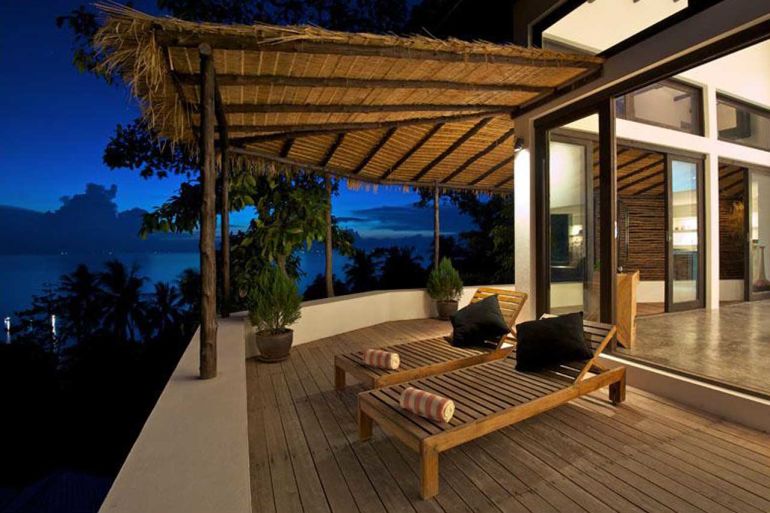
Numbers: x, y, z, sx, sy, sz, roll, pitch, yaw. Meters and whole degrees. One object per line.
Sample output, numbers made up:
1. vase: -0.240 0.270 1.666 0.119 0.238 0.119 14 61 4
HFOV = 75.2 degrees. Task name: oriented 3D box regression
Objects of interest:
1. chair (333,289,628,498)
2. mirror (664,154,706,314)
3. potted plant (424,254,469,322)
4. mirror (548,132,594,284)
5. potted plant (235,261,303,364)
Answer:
1. chair: 1.204 1.679 6.508 2.745 1.169 2.360 -4 5 -33
2. mirror: 5.985 -0.417 10.072 1.310 3.161 0.211 -3 3 -23
3. potted plant: 1.324 0.707 10.960 0.783 1.291 0.740 -4 0 -3
4. mirror: 2.939 -0.526 8.050 0.750 3.234 0.138 3 -22 10
5. potted plant: -1.831 0.960 8.294 0.866 1.444 0.511 -3 1 -14
